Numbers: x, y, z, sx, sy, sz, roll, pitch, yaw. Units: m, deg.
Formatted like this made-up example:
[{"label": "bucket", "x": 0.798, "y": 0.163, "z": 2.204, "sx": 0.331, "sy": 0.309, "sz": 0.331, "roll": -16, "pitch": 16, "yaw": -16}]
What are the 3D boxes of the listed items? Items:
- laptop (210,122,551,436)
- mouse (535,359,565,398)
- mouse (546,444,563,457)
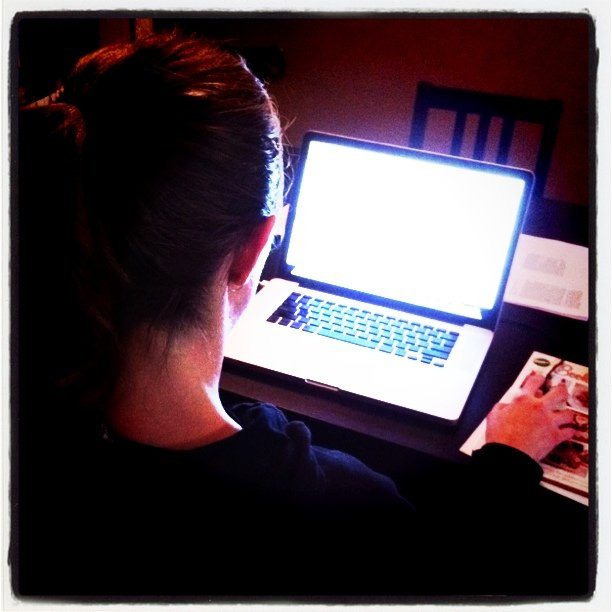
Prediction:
[{"label": "laptop", "x": 0.116, "y": -0.095, "z": 1.113, "sx": 0.529, "sy": 0.330, "sz": 0.504, "roll": 13, "pitch": 23, "yaw": 16}, {"label": "mouse", "x": 0.452, "y": 0.145, "z": 1.159, "sx": 0.012, "sy": 0.055, "sz": 0.050, "roll": 23, "pitch": -19, "yaw": -13}, {"label": "mouse", "x": 0.462, "y": 0.269, "z": 1.141, "sx": 0.015, "sy": 0.019, "sz": 0.020, "roll": 46, "pitch": 62, "yaw": -3}]
